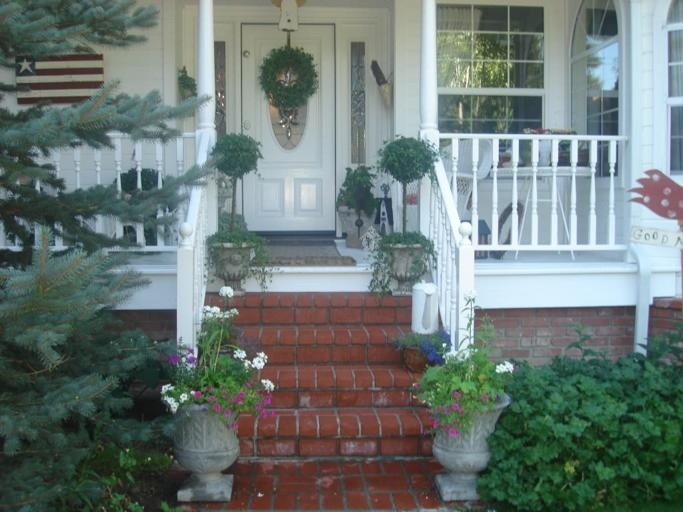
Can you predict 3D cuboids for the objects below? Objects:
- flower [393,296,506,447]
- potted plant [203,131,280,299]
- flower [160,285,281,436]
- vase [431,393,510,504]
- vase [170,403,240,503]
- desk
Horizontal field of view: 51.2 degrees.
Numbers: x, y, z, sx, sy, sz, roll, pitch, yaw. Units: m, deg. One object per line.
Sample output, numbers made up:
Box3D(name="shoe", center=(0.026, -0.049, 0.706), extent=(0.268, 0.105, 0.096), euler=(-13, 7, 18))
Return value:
Box3D(name="flower", center=(0.752, 0.848, 5.108), extent=(0.547, 0.841, 0.548), euler=(20, -32, -11))
Box3D(name="potted plant", center=(-0.897, -0.388, 6.264), extent=(0.548, 1.370, 0.733), euler=(-2, 7, -7))
Box3D(name="flower", center=(-0.855, 0.728, 5.026), extent=(0.730, 0.971, 1.018), euler=(-2, 7, -7))
Box3D(name="vase", center=(0.832, 1.279, 4.845), extent=(0.535, 0.674, 0.530), euler=(-2, 5, -32))
Box3D(name="vase", center=(-0.884, 1.259, 4.821), extent=(0.537, 0.763, 0.545), euler=(0, -2, 1))
Box3D(name="desk", center=(2.163, -0.551, 7.637), extent=(0.539, 0.820, 0.784), euler=(-3, -6, 6))
